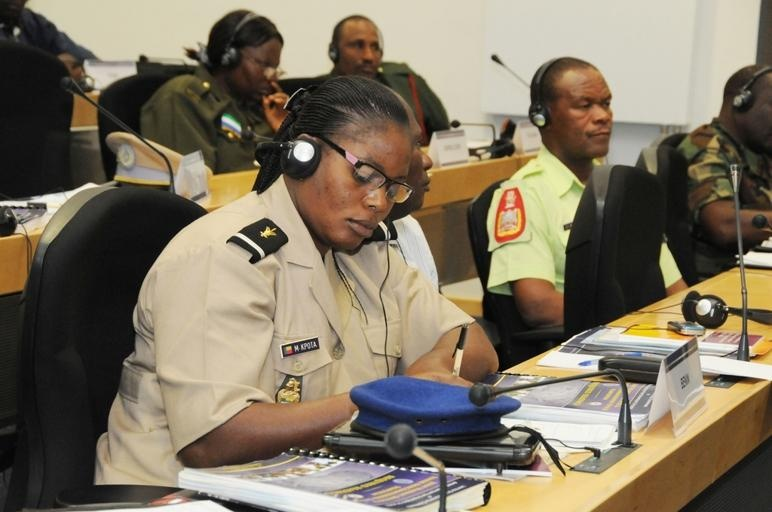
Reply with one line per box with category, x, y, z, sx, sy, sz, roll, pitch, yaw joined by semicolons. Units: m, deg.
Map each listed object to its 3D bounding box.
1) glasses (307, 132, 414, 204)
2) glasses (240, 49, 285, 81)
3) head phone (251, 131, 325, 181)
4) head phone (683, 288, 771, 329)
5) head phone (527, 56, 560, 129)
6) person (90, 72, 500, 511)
glasses;-0.058;-0.209;1.921;0.188;0.057;0.188;30;7;-47
glasses;-0.745;-1.141;4.414;0.160;0.094;0.199;-7;15;-44
head phone;-0.266;-0.266;1.970;0.165;0.112;0.085;13;11;7
head phone;1.083;0.164;2.379;0.205;0.078;0.147;9;8;-6
head phone;0.663;-0.686;3.279;0.101;0.258;0.293;-4;6;12
person;-0.215;-0.041;2.598;1.083;1.852;0.987;3;9;21
